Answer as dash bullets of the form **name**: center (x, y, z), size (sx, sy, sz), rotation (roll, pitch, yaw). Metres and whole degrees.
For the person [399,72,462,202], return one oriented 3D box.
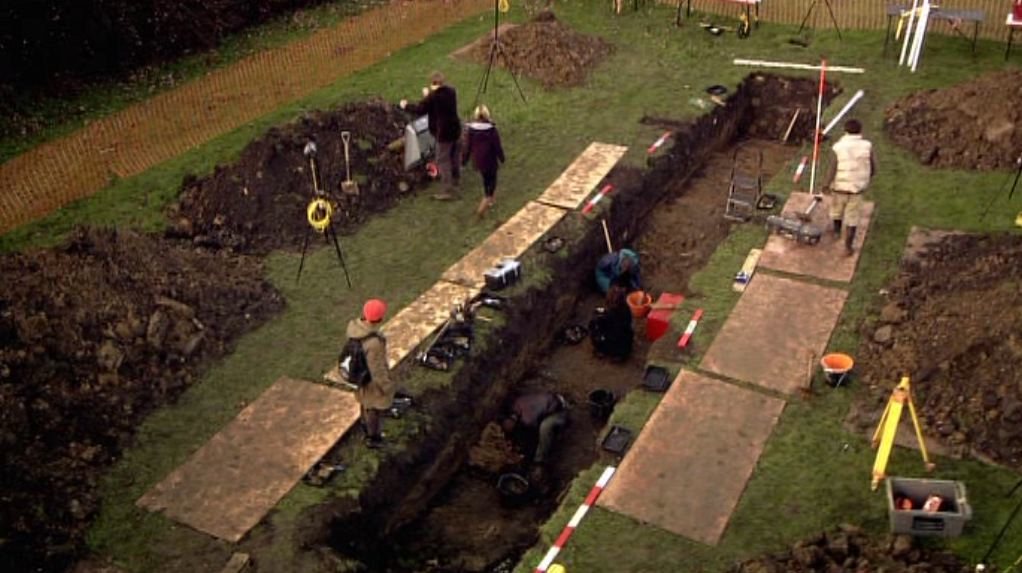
- **person**: center (-1.472, -2.941, 22.496), size (0.812, 2.565, 1.005), rotation (1, 7, 14)

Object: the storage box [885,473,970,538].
- **storage box**: center (6.464, 3.409, 17.875), size (1.222, 0.564, 0.776), rotation (1, 58, 8)

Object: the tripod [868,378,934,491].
- **tripod**: center (6.051, 2.225, 18.048), size (1.569, 1.566, 0.384), rotation (-2, -1, -5)

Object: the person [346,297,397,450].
- **person**: center (-2.255, 1.310, 18.634), size (0.915, 2.280, 0.579), rotation (2, -1, -24)

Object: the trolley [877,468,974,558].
- **trolley**: center (6.408, 3.407, 17.900), size (1.215, 0.551, 0.804), rotation (0, 56, 8)

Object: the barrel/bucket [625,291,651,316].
- **barrel/bucket**: center (2.379, 0.289, 21.468), size (0.433, 0.330, 0.465), rotation (-8, 46, 9)

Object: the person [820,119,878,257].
- **person**: center (6.058, -1.806, 20.790), size (0.742, 2.176, 1.073), rotation (10, 39, 15)

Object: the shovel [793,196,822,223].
- **shovel**: center (5.644, -1.463, 21.821), size (0.370, 0.156, 0.681), rotation (7, 38, 37)

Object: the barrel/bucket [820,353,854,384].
- **barrel/bucket**: center (5.450, 1.367, 19.478), size (0.474, 0.363, 0.524), rotation (9, 40, 15)

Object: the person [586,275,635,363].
- **person**: center (1.831, 0.512, 20.977), size (1.261, 1.867, 1.185), rotation (0, 38, 2)

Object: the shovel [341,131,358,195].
- **shovel**: center (-3.126, -2.357, 22.168), size (0.365, 1.240, 0.095), rotation (2, 9, 25)
